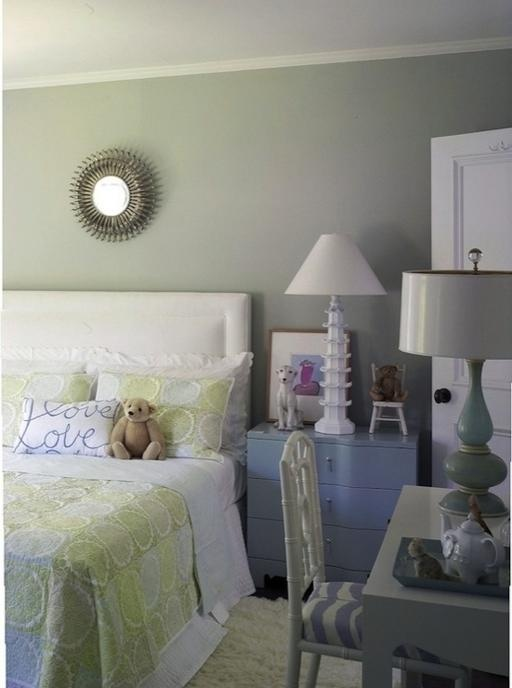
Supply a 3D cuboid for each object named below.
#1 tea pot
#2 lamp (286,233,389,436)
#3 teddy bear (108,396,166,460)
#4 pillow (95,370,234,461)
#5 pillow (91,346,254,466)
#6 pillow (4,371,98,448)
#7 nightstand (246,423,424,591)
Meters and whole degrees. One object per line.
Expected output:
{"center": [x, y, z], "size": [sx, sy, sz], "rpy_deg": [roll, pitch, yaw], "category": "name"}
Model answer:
{"center": [0.412, 0.406, 1.145], "size": [0.080, 0.104, 0.112], "rpy_deg": [0, 7, -17], "category": "tea pot"}
{"center": [0.410, -0.051, 2.766], "size": [0.388, 0.925, 0.462], "rpy_deg": [5, 8, 40], "category": "lamp"}
{"center": [-0.527, 0.378, 2.577], "size": [0.277, 0.257, 0.213], "rpy_deg": [-1, 8, -2], "category": "teddy bear"}
{"center": [-0.467, 0.342, 2.814], "size": [0.750, 0.474, 0.275], "rpy_deg": [0, -1, 13], "category": "pillow"}
{"center": [-0.450, 0.306, 2.858], "size": [0.778, 0.486, 0.261], "rpy_deg": [0, 4, 10], "category": "pillow"}
{"center": [-1.054, 0.298, 2.856], "size": [0.428, 0.341, 0.118], "rpy_deg": [-3, -25, 2], "category": "pillow"}
{"center": [0.386, 0.791, 2.744], "size": [0.773, 0.686, 0.301], "rpy_deg": [-1, -5, 24], "category": "nightstand"}
